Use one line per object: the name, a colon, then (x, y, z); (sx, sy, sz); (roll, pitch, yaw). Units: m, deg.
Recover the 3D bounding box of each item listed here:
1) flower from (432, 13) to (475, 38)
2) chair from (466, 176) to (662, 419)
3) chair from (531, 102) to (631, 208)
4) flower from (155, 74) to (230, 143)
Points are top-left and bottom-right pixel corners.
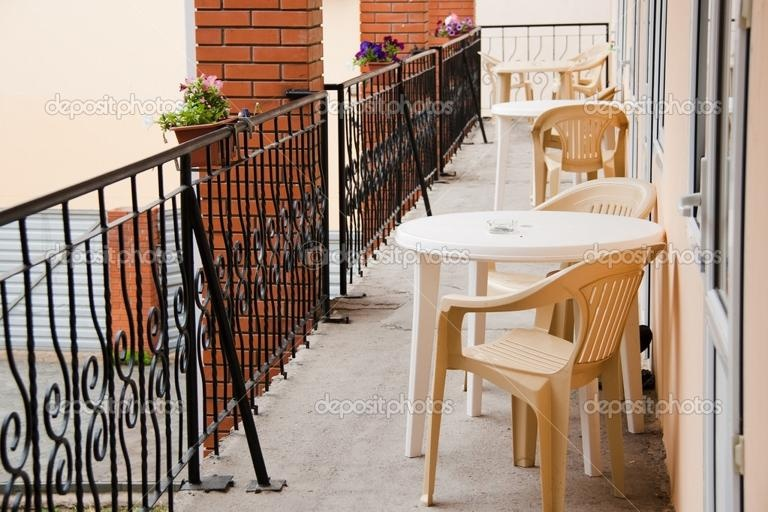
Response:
flower: (0.993, -3.187, 12.138); (0.588, 0.454, 0.848); (0, 26, 4)
chair: (0.826, 0.088, 4.405); (0.945, 1.307, 0.931); (-1, 12, -25)
chair: (1.449, -0.765, 6.302); (0.686, 0.968, 0.710); (-1, 33, 8)
flower: (-1.109, -0.919, 5.546); (0.324, 0.347, 0.365); (-5, 23, 20)
